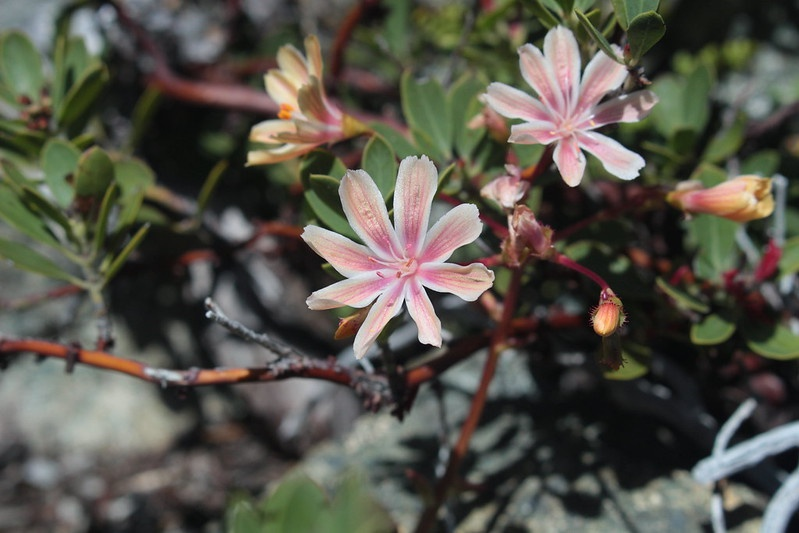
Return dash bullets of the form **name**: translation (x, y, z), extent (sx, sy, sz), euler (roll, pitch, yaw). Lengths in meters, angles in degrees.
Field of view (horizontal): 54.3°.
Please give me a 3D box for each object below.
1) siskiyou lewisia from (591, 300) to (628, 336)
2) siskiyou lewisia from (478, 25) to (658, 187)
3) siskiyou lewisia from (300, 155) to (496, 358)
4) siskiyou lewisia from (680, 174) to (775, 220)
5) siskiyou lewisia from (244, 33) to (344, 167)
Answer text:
- **siskiyou lewisia**: translation (0.572, 0.151, 2.165), extent (0.086, 0.041, 0.099), euler (24, 79, 22)
- **siskiyou lewisia**: translation (0.487, -0.457, 2.233), extent (0.459, 0.538, 0.273), euler (-8, 71, 23)
- **siskiyou lewisia**: translation (-0.008, -0.036, 2.131), extent (0.478, 0.234, 0.570), euler (20, 92, 10)
- **siskiyou lewisia**: translation (0.932, -0.187, 2.219), extent (0.212, 0.096, 0.129), euler (-1, 74, 33)
- **siskiyou lewisia**: translation (-0.331, -0.487, 2.256), extent (0.312, 0.282, 0.276), euler (-20, 69, -9)
